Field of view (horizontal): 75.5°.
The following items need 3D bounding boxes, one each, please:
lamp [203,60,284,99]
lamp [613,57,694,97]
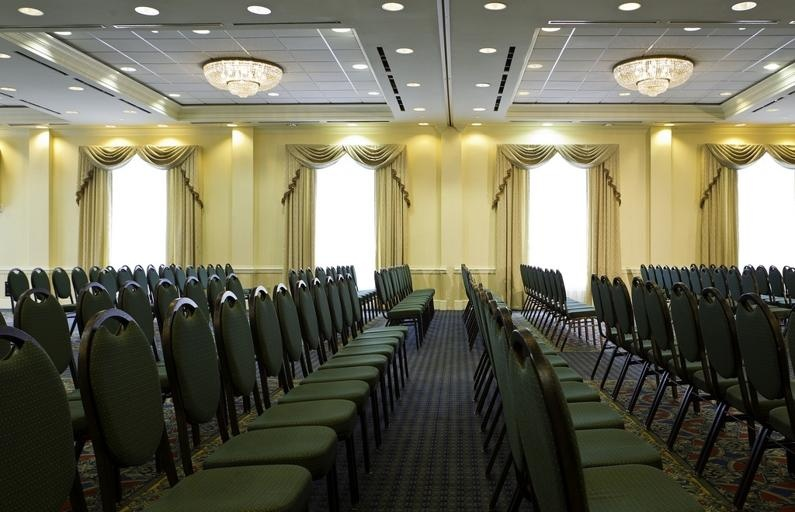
[{"bbox_3d":[-2.700,-3.017,8.945,1.398,0.553,1.385,7,16,32],"label":"lamp"},{"bbox_3d":[4.145,-2.962,8.341,0.768,0.341,0.765,-1,-5,3],"label":"lamp"}]
